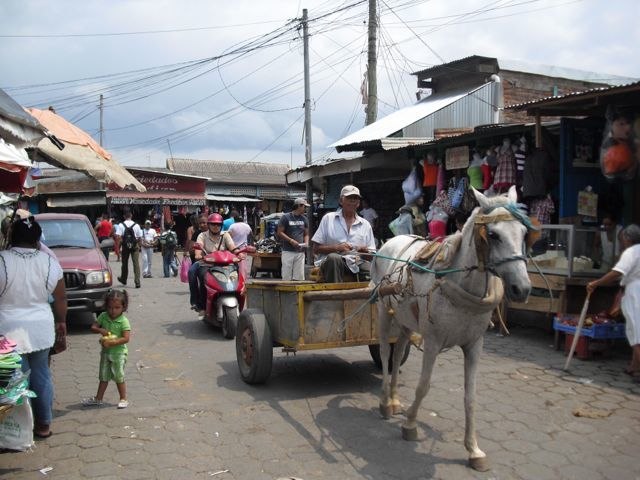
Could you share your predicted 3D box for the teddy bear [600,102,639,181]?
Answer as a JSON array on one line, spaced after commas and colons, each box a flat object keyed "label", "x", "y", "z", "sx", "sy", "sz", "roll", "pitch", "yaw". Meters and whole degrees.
[{"label": "teddy bear", "x": 4.744, "y": -1.564, "z": 9.602, "sx": 0.541, "sy": 1.109, "sz": 0.348, "roll": 1, "pitch": 3, "yaw": 25}]

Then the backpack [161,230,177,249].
[{"label": "backpack", "x": -4.261, "y": -0.041, "z": 16.917, "sx": 0.498, "sy": 0.556, "sz": 0.381, "roll": 1, "pitch": 6, "yaw": 13}]

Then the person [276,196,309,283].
[{"label": "person", "x": -0.462, "y": 0.025, "z": 11.315, "sx": 0.455, "sy": 1.664, "sz": 0.535, "roll": -2, "pitch": 9, "yaw": -27}]

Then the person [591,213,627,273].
[{"label": "person", "x": 4.789, "y": 0.042, "z": 10.055, "sx": 0.464, "sy": 0.964, "sz": 0.457, "roll": 5, "pitch": 12, "yaw": 11}]

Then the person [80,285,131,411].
[{"label": "person", "x": -2.484, "y": 1.269, "z": 7.118, "sx": 0.461, "sy": 1.351, "sz": 0.369, "roll": -1, "pitch": 2, "yaw": -12}]

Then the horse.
[{"label": "horse", "x": 1.269, "y": 0.900, "z": 6.742, "sx": 0.839, "sy": 2.775, "sz": 3.188, "roll": 3, "pitch": 2, "yaw": -16}]

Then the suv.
[{"label": "suv", "x": -3.817, "y": 0.422, "z": 9.340, "sx": 1.432, "sy": 2.290, "sz": 1.880, "roll": 1, "pitch": 5, "yaw": -18}]
